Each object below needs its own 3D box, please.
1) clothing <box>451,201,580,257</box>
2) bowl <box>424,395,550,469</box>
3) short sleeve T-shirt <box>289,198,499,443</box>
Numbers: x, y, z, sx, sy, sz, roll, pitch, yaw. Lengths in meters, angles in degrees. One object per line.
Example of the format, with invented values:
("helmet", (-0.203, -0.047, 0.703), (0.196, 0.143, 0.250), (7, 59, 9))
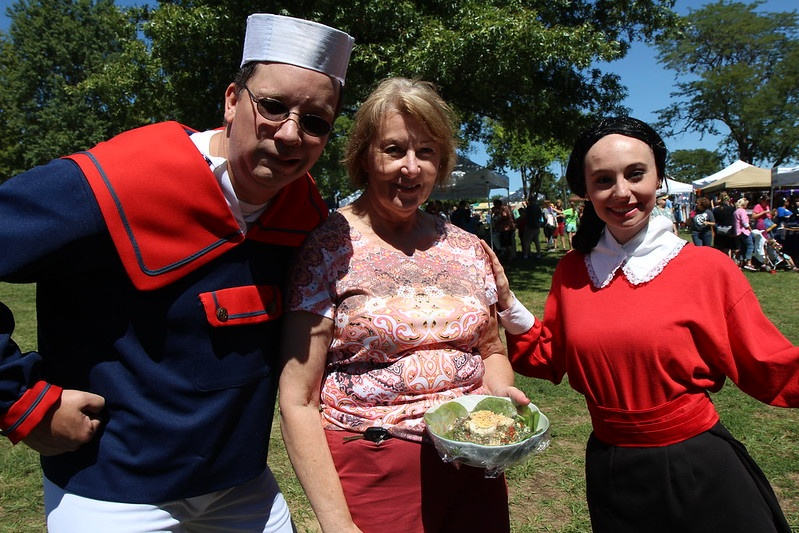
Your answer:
("clothing", (4.379, -1.242, 18.799), (2.501, 1.713, 3.458), (2, -7, 45))
("bowl", (0.402, 0.775, 2.590), (0.574, 0.279, 0.316), (0, 6, -12))
("short sleeve T-shirt", (-0.063, 0.294, 2.673), (1.012, 1.053, 0.560), (3, -5, -27))
